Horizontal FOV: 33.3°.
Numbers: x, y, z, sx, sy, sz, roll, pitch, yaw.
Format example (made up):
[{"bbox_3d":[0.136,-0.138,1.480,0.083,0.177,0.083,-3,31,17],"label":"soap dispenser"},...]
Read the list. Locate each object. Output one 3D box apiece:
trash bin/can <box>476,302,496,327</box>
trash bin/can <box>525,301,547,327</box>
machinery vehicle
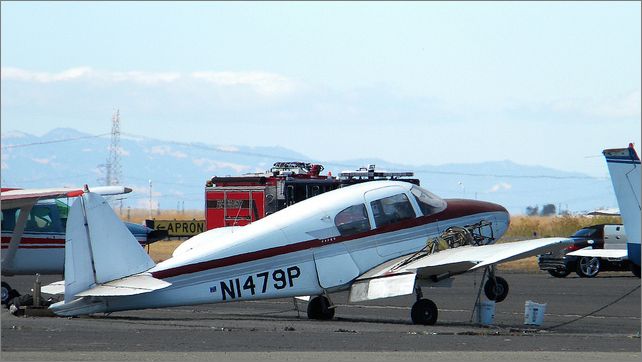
[{"bbox_3d":[6.044,4.850,39.124,0.812,0.818,0.780,2,-7,-5],"label":"trash bin/can"},{"bbox_3d":[7.742,4.889,39.002,0.907,0.826,0.806,-2,-11,39],"label":"trash bin/can"},{"bbox_3d":[-0.297,1.056,51.851,10.387,4.158,3.773,-1,5,-1],"label":"machinery vehicle"}]
